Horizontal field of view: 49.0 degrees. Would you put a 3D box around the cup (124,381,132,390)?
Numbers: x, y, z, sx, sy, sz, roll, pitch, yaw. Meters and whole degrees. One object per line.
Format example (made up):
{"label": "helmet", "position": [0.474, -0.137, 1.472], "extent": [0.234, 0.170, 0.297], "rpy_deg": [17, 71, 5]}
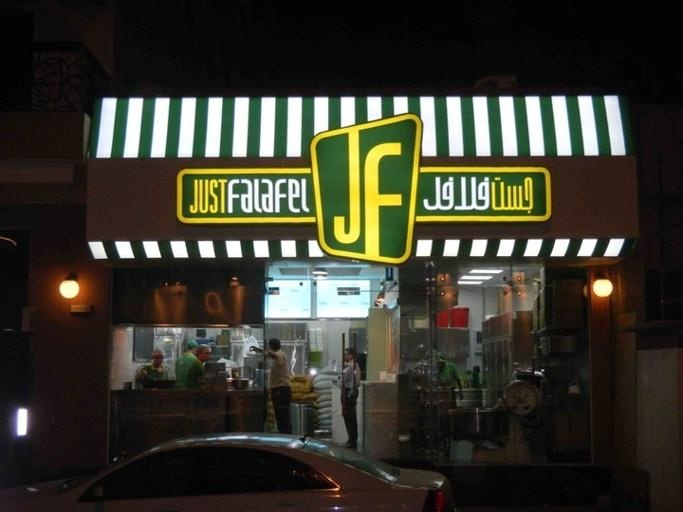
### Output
{"label": "cup", "position": [-3.441, 2.083, 12.044], "extent": [0.113, 0.142, 0.118], "rpy_deg": [0, -2, 0]}

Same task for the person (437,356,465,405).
{"label": "person", "position": [1.704, 1.937, 11.561], "extent": [0.287, 0.812, 0.620], "rpy_deg": [-2, -5, -32]}

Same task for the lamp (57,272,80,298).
{"label": "lamp", "position": [-4.442, 0.489, 12.133], "extent": [0.331, 0.432, 0.228], "rpy_deg": [-6, -6, -8]}

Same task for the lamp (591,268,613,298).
{"label": "lamp", "position": [4.192, 0.458, 12.039], "extent": [0.380, 0.575, 0.391], "rpy_deg": [-1, -3, 41]}

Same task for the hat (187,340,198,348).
{"label": "hat", "position": [-2.434, 1.425, 12.151], "extent": [0.099, 0.119, 0.129], "rpy_deg": [4, 4, 44]}
